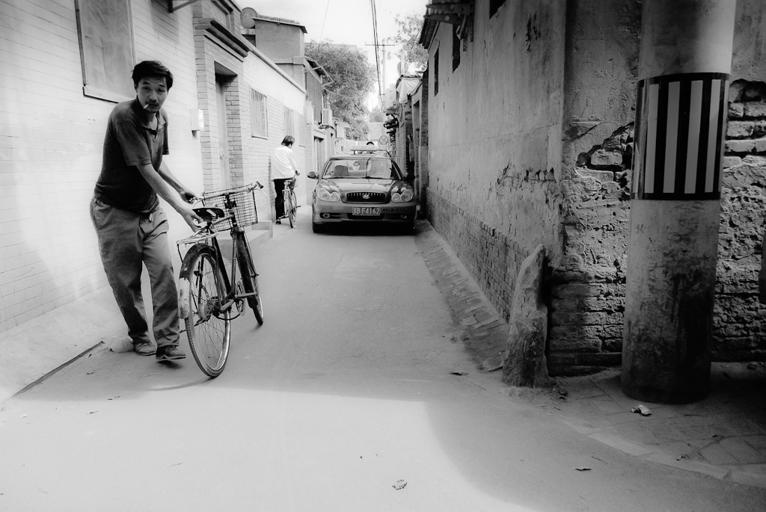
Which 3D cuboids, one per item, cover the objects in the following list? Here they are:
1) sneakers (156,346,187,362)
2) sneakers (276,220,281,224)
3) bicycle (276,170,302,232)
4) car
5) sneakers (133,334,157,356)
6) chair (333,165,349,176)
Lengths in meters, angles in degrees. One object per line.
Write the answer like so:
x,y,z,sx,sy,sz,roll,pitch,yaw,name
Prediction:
-2.060,0.951,5.358,0.330,0.173,0.129,-2,-2,21,sneakers
-2.922,-0.948,15.231,0.073,0.126,0.114,-8,3,-28,sneakers
-2.581,-1.529,14.884,0.625,0.909,1.495,0,23,-3,bicycle
-0.455,-1.522,13.497,2.689,1.819,2.259,6,13,21,car
-2.437,0.920,5.544,0.129,0.163,0.336,3,-5,-36,sneakers
-1.089,-2.167,13.928,0.239,0.353,0.312,-1,-1,3,chair
